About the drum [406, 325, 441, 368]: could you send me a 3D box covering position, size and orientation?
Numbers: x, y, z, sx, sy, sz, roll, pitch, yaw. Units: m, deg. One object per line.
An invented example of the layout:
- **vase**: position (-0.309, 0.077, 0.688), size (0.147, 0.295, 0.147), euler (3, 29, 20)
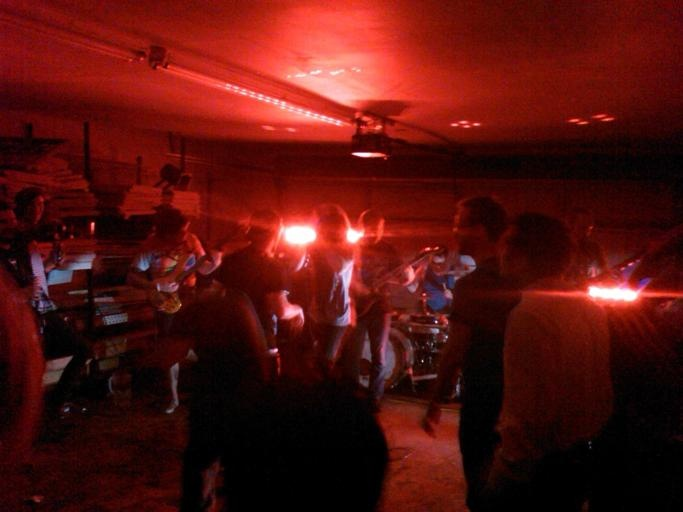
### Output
- **drum**: position (1.022, 1.112, 6.539), size (0.436, 0.524, 0.189), euler (0, 0, 19)

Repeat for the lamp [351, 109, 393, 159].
- **lamp**: position (0.381, -1.589, 6.761), size (0.483, 0.478, 0.397), euler (4, 11, 10)

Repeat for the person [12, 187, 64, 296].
- **person**: position (-2.971, -0.196, 5.345), size (0.392, 1.014, 1.335), euler (-2, 9, -27)
